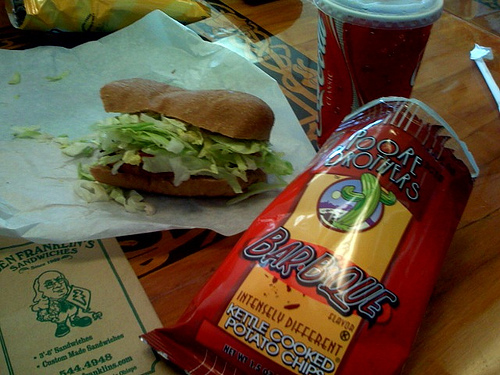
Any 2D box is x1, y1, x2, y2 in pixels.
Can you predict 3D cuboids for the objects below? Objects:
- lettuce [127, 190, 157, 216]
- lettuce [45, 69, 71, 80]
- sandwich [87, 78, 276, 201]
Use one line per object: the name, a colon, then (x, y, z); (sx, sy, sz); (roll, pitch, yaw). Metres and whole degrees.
lettuce: (-0.295, 0.043, 1.034); (0.090, 0.025, 0.051); (24, 35, 13)
lettuce: (-0.634, -0.377, 1.276); (0.079, 0.018, 0.038); (-25, 48, -31)
sandwich: (-0.206, -0.168, 1.275); (0.655, 0.246, 0.594); (3, 25, 30)
